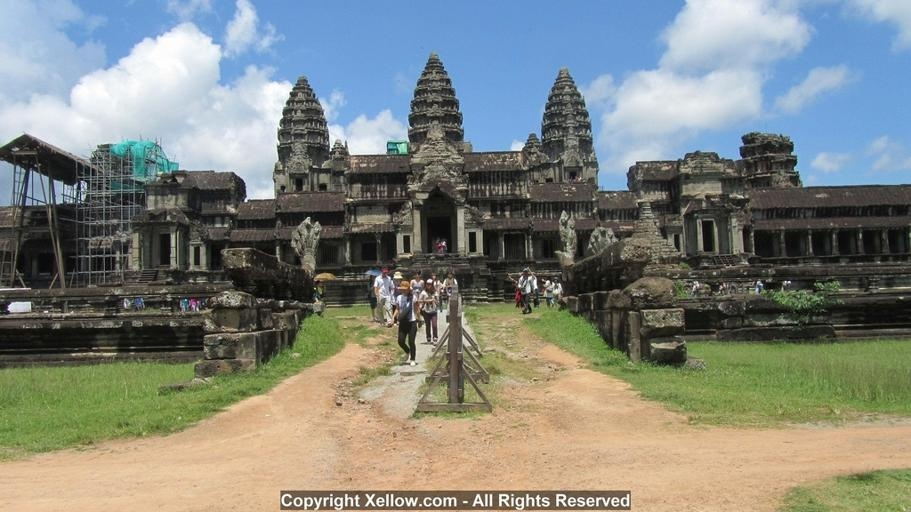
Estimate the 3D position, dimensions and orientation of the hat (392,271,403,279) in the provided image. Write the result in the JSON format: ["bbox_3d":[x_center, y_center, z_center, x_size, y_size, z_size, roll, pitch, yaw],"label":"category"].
[{"bbox_3d":[-3.006,1.020,40.965,0.508,0.203,0.658,0,-12,-3],"label":"hat"}]

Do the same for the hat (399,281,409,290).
[{"bbox_3d":[-2.094,1.227,32.437,0.379,0.369,0.480,-2,-6,-4],"label":"hat"}]
